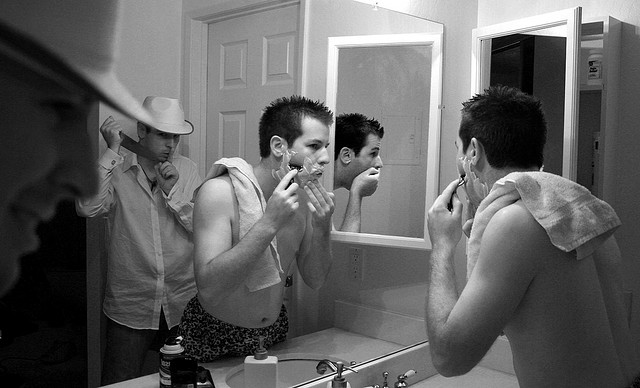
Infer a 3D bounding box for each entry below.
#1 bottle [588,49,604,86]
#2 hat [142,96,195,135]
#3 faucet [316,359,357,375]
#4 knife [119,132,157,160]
[{"bbox_3d":[1.082,-0.501,1.982,0.058,0.139,0.021,0,5,4],"label":"bottle"},{"bbox_3d":[-0.285,-0.148,0.940,0.102,0.040,0.089,33,27,30],"label":"hat"},{"bbox_3d":[0.033,0.514,1.525,0.077,0.047,0.028,0,5,-26],"label":"faucet"},{"bbox_3d":[-0.356,-0.096,0.991,0.008,0.013,0.093,6,-23,31],"label":"knife"}]
